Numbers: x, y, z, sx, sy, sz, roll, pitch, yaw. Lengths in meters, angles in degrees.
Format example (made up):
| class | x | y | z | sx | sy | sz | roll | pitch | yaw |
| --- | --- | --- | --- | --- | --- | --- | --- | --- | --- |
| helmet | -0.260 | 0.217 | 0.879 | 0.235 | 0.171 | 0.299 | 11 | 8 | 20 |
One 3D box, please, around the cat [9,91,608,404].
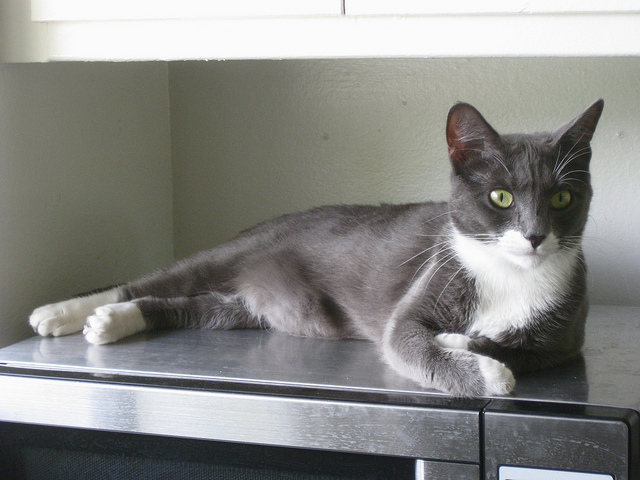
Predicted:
| class | x | y | z | sx | sy | sz | roll | pitch | yaw |
| --- | --- | --- | --- | --- | --- | --- | --- | --- | --- |
| cat | -0.063 | -0.002 | 1.296 | 0.989 | 0.471 | 0.559 | 6 | 10 | 37 |
